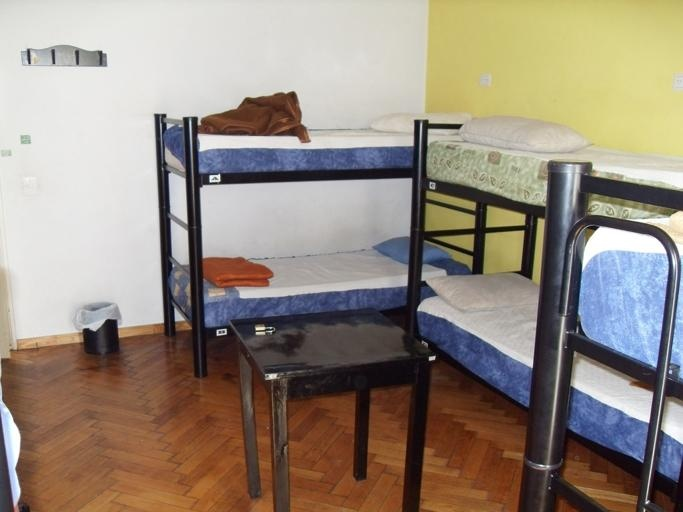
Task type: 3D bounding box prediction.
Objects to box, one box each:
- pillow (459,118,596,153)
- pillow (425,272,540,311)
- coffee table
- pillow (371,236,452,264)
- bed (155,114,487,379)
[{"bbox_3d":[1.016,-0.735,3.398,0.334,0.159,0.598,-3,13,-32],"label":"pillow"},{"bbox_3d":[0.966,0.238,3.758,0.372,0.087,0.344,-3,18,-16],"label":"pillow"},{"bbox_3d":[-0.087,0.637,2.765,0.939,1.083,0.923,-3,11,-19],"label":"coffee table"},{"bbox_3d":[0.595,-0.048,4.827,0.269,0.113,0.440,-6,11,-30],"label":"pillow"},{"bbox_3d":[-0.285,-0.399,4.307,1.714,1.377,0.641,-6,32,-19],"label":"bed"}]
